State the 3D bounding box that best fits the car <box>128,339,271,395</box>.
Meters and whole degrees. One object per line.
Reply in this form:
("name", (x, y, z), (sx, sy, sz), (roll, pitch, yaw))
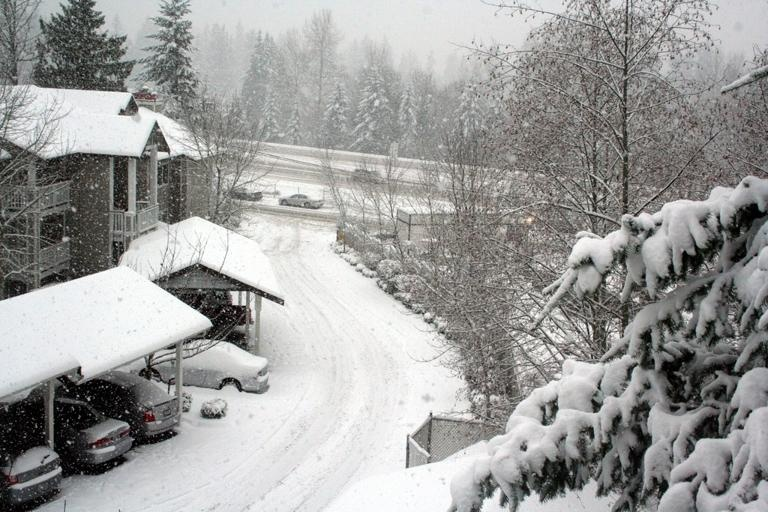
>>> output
("car", (-8.097, 5.169, 34.806), (5.952, 2.276, 2.547), (9, 4, -1))
